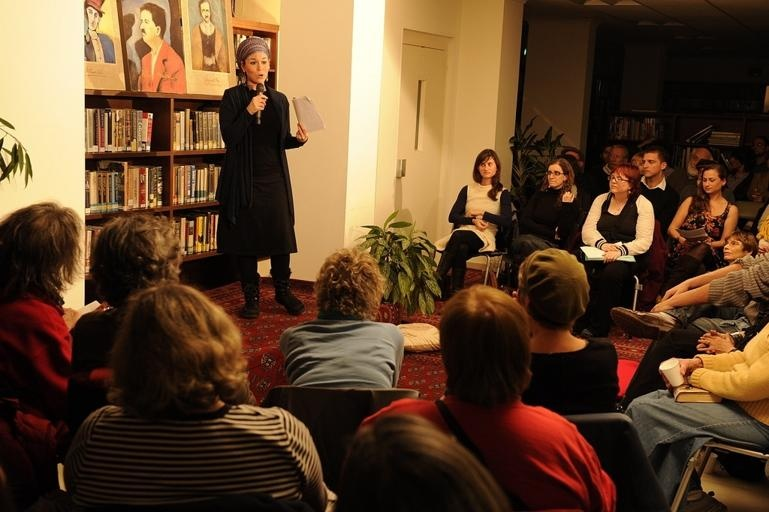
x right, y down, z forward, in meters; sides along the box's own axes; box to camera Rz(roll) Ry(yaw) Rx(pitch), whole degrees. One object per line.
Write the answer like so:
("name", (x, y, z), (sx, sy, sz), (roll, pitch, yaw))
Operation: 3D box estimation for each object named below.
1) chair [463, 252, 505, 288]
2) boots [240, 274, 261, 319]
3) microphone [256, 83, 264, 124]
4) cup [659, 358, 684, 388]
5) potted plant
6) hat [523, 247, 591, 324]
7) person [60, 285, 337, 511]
("chair", (1.170, 0.142, 6.389), (0.337, 0.644, 0.402), (0, -1, 33))
("boots", (-1.276, 0.412, 5.039), (0.197, 0.400, 0.402), (-3, 7, -8))
("microphone", (-1.090, -1.334, 4.657), (0.071, 0.350, 0.099), (0, 10, -8))
("cup", (1.486, 0.614, 2.736), (0.128, 0.142, 0.109), (2, 10, 5))
("potted plant", (0.183, 0.035, 5.348), (0.924, 1.284, 1.095), (0, 18, -4))
("hat", (0.725, 0.171, 2.328), (0.248, 0.325, 0.282), (-11, -32, 7))
("person", (-0.569, 0.449, 1.622), (0.656, 0.764, 0.448), (4, 27, 3))
